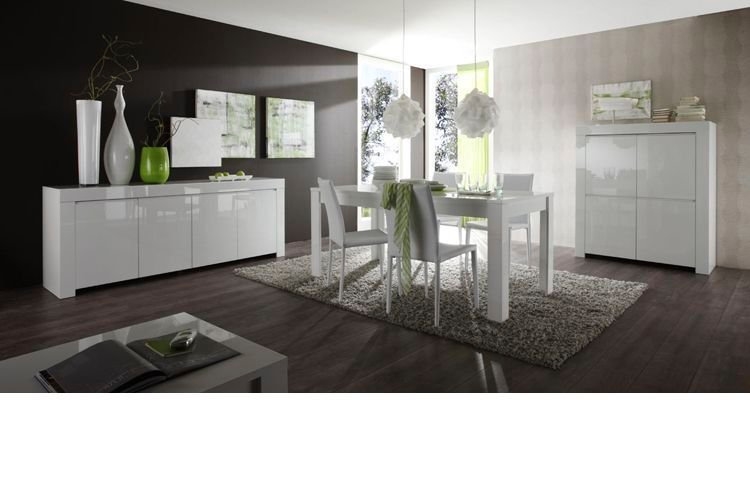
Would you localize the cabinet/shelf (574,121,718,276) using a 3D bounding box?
[{"bbox_3d":[3.227,-0.589,5.682,1.755,2.002,0.630,2,4,37],"label":"cabinet/shelf"}]

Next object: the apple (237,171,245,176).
[{"bbox_3d":[-1.676,-0.938,6.058,0.105,0.058,0.105,-2,5,6],"label":"apple"}]

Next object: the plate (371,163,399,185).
[{"bbox_3d":[0.103,-0.790,5.297,0.265,0.196,0.268,0,5,0],"label":"plate"}]

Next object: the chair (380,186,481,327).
[{"bbox_3d":[0.523,-0.045,4.344,0.897,1.114,1.038,1,13,3],"label":"chair"}]

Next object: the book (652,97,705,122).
[{"bbox_3d":[3.580,-1.634,5.698,0.504,0.307,0.572,9,16,33],"label":"book"}]

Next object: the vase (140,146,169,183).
[{"bbox_3d":[-2.401,-0.906,5.284,0.277,0.376,0.246,-7,15,-28],"label":"vase"}]
